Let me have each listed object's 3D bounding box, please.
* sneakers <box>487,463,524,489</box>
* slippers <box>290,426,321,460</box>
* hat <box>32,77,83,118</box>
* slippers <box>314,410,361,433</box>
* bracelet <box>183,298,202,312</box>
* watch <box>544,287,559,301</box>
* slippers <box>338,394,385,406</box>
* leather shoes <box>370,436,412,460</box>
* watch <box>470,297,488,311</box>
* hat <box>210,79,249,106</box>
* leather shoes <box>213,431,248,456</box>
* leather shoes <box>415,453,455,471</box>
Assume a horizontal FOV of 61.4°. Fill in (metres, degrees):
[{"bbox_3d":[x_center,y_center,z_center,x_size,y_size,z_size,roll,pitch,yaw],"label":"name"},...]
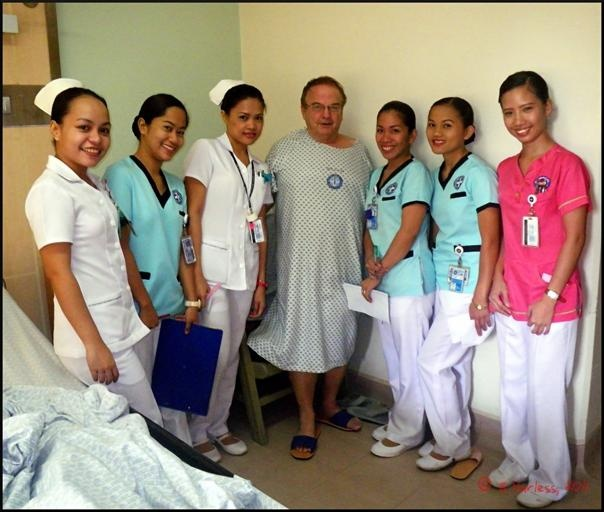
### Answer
[{"bbox_3d":[0.940,1.020,2.352,0.139,0.058,0.089,-9,42,-3],"label":"sneakers"},{"bbox_3d":[0.020,0.984,2.707,0.138,0.094,0.260,10,9,4],"label":"slippers"},{"bbox_3d":[-0.897,-0.618,1.894,0.185,0.183,0.070,-20,-33,10],"label":"hat"},{"bbox_3d":[0.224,0.920,2.880,0.206,0.061,0.091,1,13,36],"label":"slippers"},{"bbox_3d":[-0.510,0.232,2.407,0.059,0.037,0.046,1,-18,3],"label":"bracelet"},{"bbox_3d":[1.011,0.156,2.056,0.050,0.034,0.051,21,6,36],"label":"watch"},{"bbox_3d":[0.359,0.863,3.059,0.265,0.068,0.086,2,34,-2],"label":"slippers"},{"bbox_3d":[0.440,0.986,2.616,0.156,0.045,0.089,1,16,-14],"label":"leather shoes"},{"bbox_3d":[0.808,0.220,2.307,0.051,0.031,0.072,6,-31,10],"label":"watch"},{"bbox_3d":[-0.382,-0.815,2.539,0.102,0.134,0.209,1,12,-43],"label":"hat"},{"bbox_3d":[-0.368,0.990,2.669,0.078,0.061,0.208,-12,17,-40],"label":"leather shoes"},{"bbox_3d":[0.637,1.001,2.491,0.144,0.036,0.082,-5,16,-10],"label":"leather shoes"}]
